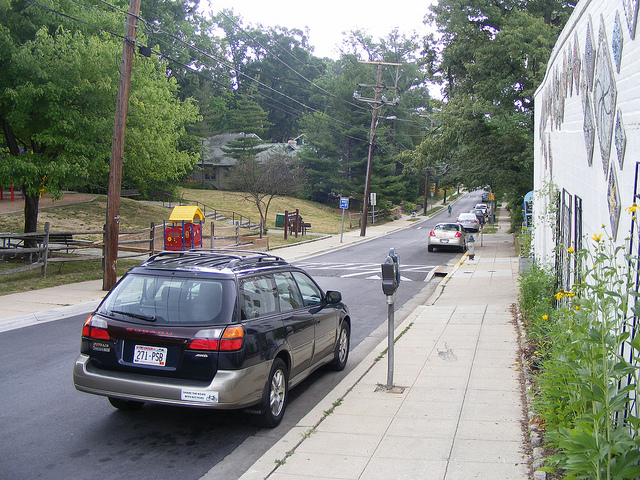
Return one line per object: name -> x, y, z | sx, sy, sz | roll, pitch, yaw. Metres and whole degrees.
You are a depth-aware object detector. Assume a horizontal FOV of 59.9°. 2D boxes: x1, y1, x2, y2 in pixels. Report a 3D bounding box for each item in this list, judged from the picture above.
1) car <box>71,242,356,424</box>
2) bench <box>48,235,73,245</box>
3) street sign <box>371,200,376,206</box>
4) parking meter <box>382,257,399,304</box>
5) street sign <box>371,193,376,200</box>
car -> -1.053, 1.191, 8.294 | 1.992, 1.766, 3.956 | 3, 5, 24
bench -> -10.033, -0.003, 21.489 | 0.787, 0.394, 2.784 | -1, 1, -26
street sign -> 4.112, -2.904, 42.632 | 0.384, 0.430, 0.395 | -1, -3, 2
parking meter -> 1.055, 0.618, 8.384 | 0.224, 0.724, 0.599 | -1, 2, 8
street sign -> 4.000, -3.281, 41.638 | 0.383, 0.792, 0.407 | -1, 6, 9
